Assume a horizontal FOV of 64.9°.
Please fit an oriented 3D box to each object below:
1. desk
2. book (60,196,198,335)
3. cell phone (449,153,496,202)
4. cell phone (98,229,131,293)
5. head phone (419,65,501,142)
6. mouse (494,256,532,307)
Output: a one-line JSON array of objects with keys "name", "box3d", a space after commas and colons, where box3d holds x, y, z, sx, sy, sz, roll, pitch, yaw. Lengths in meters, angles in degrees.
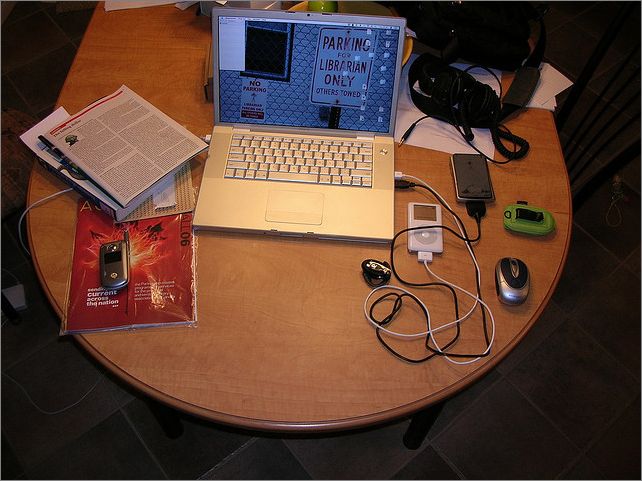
[{"name": "desk", "box3d": [-0.153, 0.124, 1.812, 1.655, 0.927, 1.212, 26, 57, 12]}, {"name": "book", "box3d": [-0.536, 0.062, 1.460, 0.360, 0.102, 0.387, -1, 56, -6]}, {"name": "cell phone", "box3d": [0.477, -0.210, 1.577, 0.118, 0.175, 0.040, 5, 37, 33]}, {"name": "cell phone", "box3d": [-0.586, 0.069, 1.432, 0.079, 0.020, 0.171, -10, 49, -16]}, {"name": "head phone", "box3d": [0.440, -0.464, 1.688, 0.195, 0.124, 0.290, 0, 43, -21]}, {"name": "mouse", "box3d": [0.556, 0.106, 1.456, 0.093, 0.051, 0.164, 6, 53, 4]}]
